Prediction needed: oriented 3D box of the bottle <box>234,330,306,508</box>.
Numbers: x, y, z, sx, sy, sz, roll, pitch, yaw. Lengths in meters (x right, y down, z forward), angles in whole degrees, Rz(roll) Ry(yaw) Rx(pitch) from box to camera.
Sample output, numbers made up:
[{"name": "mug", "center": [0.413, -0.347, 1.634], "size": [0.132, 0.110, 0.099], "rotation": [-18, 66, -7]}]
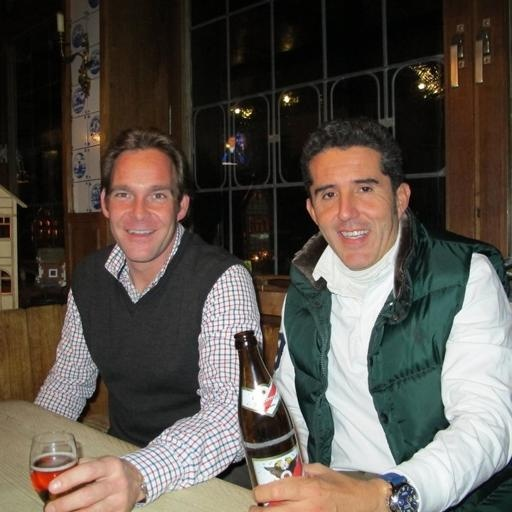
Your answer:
[{"name": "bottle", "center": [0.023, 0.301, 0.996], "size": [0.123, 0.336, 0.288], "rotation": [-3, 0, -3]}]

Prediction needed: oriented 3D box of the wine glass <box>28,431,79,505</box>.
[{"name": "wine glass", "center": [-0.396, 0.423, 0.951], "size": [0.092, 0.128, 0.144], "rotation": [-3, -1, -41]}]
